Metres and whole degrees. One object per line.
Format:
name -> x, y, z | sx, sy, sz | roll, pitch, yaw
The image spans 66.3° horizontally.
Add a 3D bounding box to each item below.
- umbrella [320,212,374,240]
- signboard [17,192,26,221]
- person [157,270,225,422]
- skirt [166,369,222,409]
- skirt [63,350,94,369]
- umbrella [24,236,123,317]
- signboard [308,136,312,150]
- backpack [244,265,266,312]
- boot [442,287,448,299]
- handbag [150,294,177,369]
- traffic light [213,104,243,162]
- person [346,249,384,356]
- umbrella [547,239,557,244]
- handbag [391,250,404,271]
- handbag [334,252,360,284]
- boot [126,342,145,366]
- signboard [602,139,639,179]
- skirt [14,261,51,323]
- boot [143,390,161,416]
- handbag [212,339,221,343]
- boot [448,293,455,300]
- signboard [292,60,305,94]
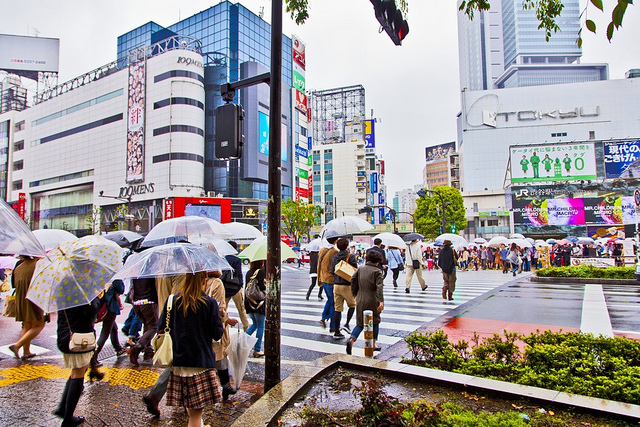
umbrella -> 0.655, 0.303, 13.586 | 1.441, 0.610, 1.520 | -8, 9, 29
signboard -> -36.706, -1.114, 59.957 | 0.559, 3.372, 7.985 | 0, -3, -31
person -> -2.164, 2.226, 8.261 | 0.981, 2.530, 0.263 | -1, -3, -16
skirt -> -2.138, 2.940, 8.222 | 0.886, 0.651, 0.181 | -2, -3, -4
skirt -> -4.310, 2.591, 8.655 | 0.470, 0.283, 0.164 | -2, -3, 0
umbrella -> -4.374, 1.052, 8.697 | 1.436, 1.449, 0.709 | -30, -36, -4
signboard -> -1.783, -11.446, 79.851 | 0.398, 2.117, 1.053 | -4, -3, 30
backpack -> -1.472, 1.685, 10.888 | 0.410, 0.969, 0.273 | -2, -3, -5
boot -> 4.241, 2.752, 16.680 | 0.146, 0.450, 0.190 | -3, 14, 12
handbag -> -2.643, 1.996, 8.268 | 0.543, 1.107, 0.554 | -3, -6, 0
traffic light -> -1.813, -1.621, 9.665 | 0.553, 1.120, 0.432 | -2, -3, -11
person -> 0.995, 1.958, 10.974 | 0.806, 2.192, 0.613 | -2, -3, 3
umbrella -> 16.622, 1.984, 35.066 | 0.878, 0.306, 0.908 | 0, 0, 21
handbag -> 3.196, 1.934, 20.271 | 0.582, 0.865, 0.441 | -2, -3, -8
handbag -> 0.615, 1.322, 11.726 | 0.534, 0.518, 0.189 | 37, -34, -19
boot -> -3.988, 3.036, 10.539 | 0.329, 0.507, 0.335 | -1, -3, -23
signboard -> 33.821, -6.017, 54.872 | 4.560, 4.731, 0.223 | 2, -8, 16
skirt -> -6.277, 1.703, 10.525 | 0.626, 1.354, 0.556 | -1, -3, -23
boot -> -3.064, 3.425, 8.900 | 0.222, 0.534, 0.195 | -12, 8, -5
handbag -> -1.932, 2.382, 9.091 | 0.139, 0.070, 0.168 | -2, -3, -9
boot -> 4.473, 2.834, 16.761 | 0.176, 0.263, 0.473 | -3, -3, 17
signboard -> -3.466, -20.847, 74.432 | 0.457, 4.003, 3.433 | -3, -3, 24
